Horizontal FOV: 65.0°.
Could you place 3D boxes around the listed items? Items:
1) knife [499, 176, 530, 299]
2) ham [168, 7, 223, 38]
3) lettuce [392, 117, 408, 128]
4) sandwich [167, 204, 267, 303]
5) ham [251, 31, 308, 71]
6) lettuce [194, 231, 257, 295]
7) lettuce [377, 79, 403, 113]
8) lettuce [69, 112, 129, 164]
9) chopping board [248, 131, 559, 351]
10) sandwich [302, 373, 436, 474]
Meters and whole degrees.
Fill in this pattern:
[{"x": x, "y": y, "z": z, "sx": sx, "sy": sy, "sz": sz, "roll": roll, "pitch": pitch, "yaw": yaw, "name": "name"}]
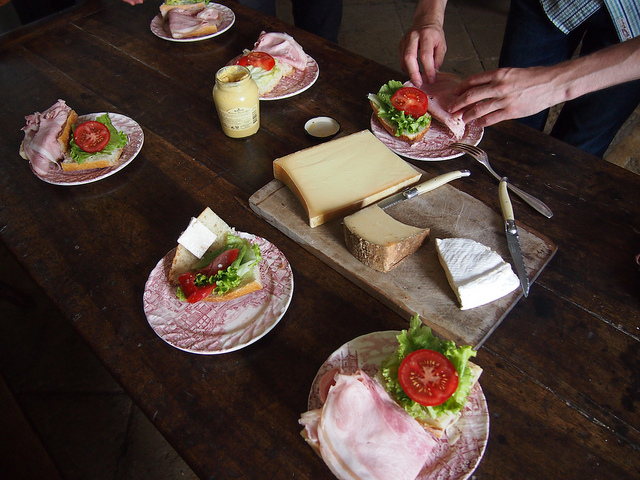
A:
[{"x": 0.752, "y": -0.022, "z": 1.957, "sx": 0.056, "sy": 0.051, "sz": 0.512, "roll": 7, "pitch": 63, "yaw": -20, "name": "knife"}, {"x": -0.721, "y": -1.283, "z": 2.924, "sx": 0.314, "sy": 0.099, "sz": 0.252, "roll": -17, "pitch": 63, "yaw": -9, "name": "ham"}, {"x": 0.356, "y": -0.525, "z": 2.234, "sx": 0.041, "sy": 0.017, "sz": 0.044, "roll": 9, "pitch": 58, "yaw": 10, "name": "lettuce"}, {"x": -0.376, "y": 0.080, "z": 1.852, "sx": 0.342, "sy": 0.114, "sz": 0.345, "roll": 39, "pitch": 62, "yaw": 14, "name": "sandwich"}, {"x": -0.196, "y": -1.045, "z": 2.693, "sx": 0.308, "sy": 0.198, "sz": 0.298, "roll": -17, "pitch": 34, "yaw": -26, "name": "ham"}, {"x": -0.353, "y": 0.063, "z": 1.881, "sx": 0.192, "sy": 0.090, "sz": 0.246, "roll": -19, "pitch": 20, "yaw": 12, "name": "lettuce"}, {"x": 0.350, "y": -0.707, "z": 2.398, "sx": 0.031, "sy": 0.110, "sz": 0.146, "roll": 27, "pitch": 48, "yaw": 8, "name": "lettuce"}, {"x": -0.977, "y": -0.463, "z": 2.259, "sx": 0.221, "sy": 0.063, "sz": 0.234, "roll": -14, "pitch": 53, "yaw": -8, "name": "lettuce"}, {"x": 0.318, "y": -0.064, "z": 2.004, "sx": 1.055, "sy": 0.119, "sz": 0.634, "roll": 35, "pitch": 67, "yaw": 17, "name": "chopping board"}, {"x": 0.147, "y": 0.585, "z": 1.524, "sx": 0.290, "sy": 0.103, "sz": 0.356, "roll": -40, "pitch": 69, "yaw": -19, "name": "sandwich"}]
